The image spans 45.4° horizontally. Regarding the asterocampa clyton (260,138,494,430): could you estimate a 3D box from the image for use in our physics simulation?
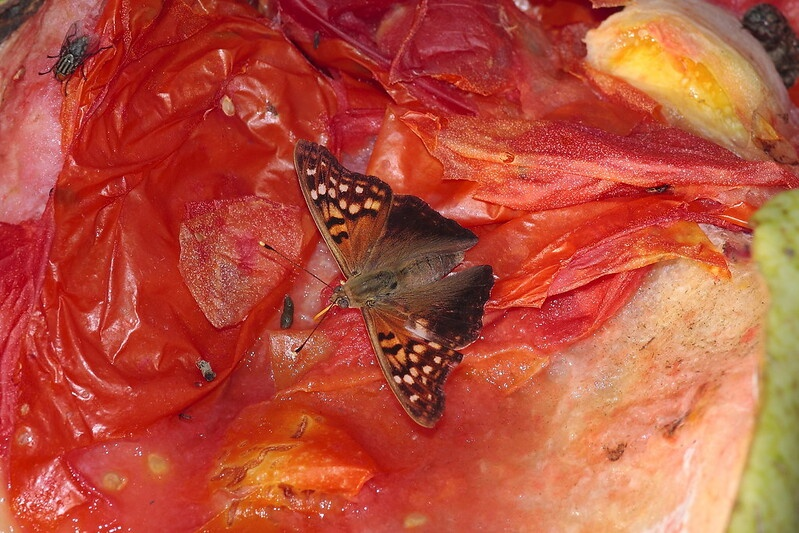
[{"bbox_3d":[-0.015,0.028,1.707,0.336,0.141,0.546,-24,68,-13],"label":"asterocampa clyton"}]

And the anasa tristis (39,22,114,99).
[{"bbox_3d":[-0.589,-0.380,1.728,0.099,0.042,0.118,42,76,10],"label":"anasa tristis"}]
